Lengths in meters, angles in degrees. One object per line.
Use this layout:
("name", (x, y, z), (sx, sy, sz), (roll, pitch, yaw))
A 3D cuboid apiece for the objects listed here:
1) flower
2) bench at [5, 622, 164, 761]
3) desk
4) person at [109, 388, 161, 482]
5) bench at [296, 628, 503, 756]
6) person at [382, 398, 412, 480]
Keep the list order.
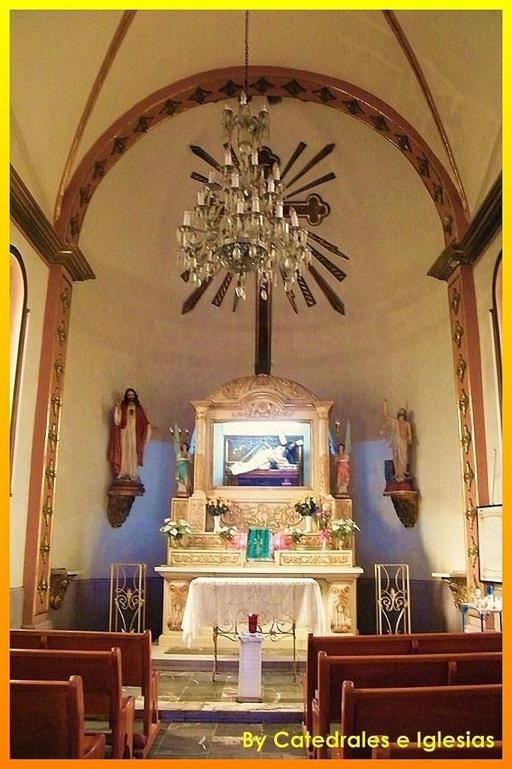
("flower", (0.073, 1.761, 8.032), (2.358, 0.702, 0.713), (0, -16, -1))
("bench", (-1.072, 1.987, 4.043), (0.873, 0.745, 0.526), (3, -16, -11))
("desk", (-0.013, 2.348, 6.151), (1.286, 0.891, 1.647), (-1, -17, 2))
("person", (-1.760, 0.713, 8.668), (0.333, 1.247, 0.663), (-10, -19, 32))
("bench", (0.883, 1.792, 3.554), (1.164, 0.656, 1.067), (-1, -17, 1))
("person", (1.946, 0.812, 8.463), (0.380, 1.010, 0.238), (0, -16, -1))
